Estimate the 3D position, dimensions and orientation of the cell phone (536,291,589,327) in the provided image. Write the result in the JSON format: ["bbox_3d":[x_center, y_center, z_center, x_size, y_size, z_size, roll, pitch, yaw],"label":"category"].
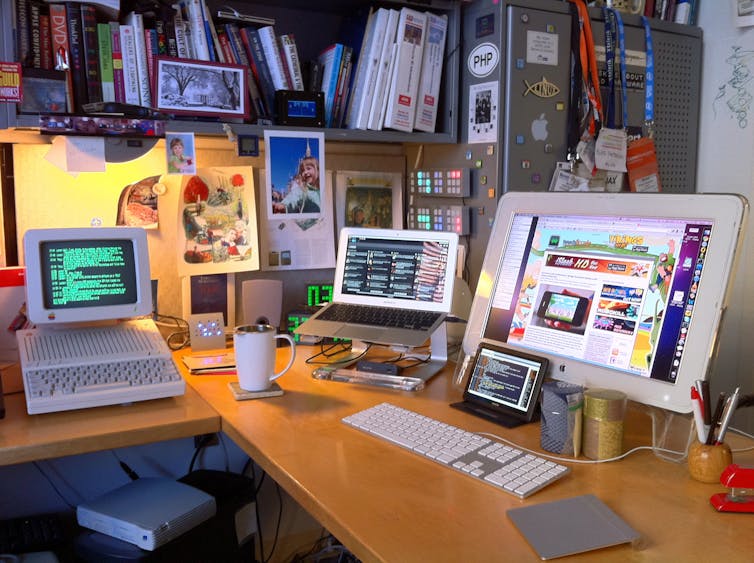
[{"bbox_3d":[0.427,0.063,1.304,0.010,0.054,0.073,12,2,-44],"label":"cell phone"}]

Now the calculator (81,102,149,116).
[{"bbox_3d":[-0.714,-0.473,1.582,0.187,0.039,0.043,-6,14,-22],"label":"calculator"}]

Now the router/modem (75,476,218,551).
[{"bbox_3d":[-0.625,0.641,1.564,0.188,0.046,0.194,12,12,27],"label":"router/modem"}]

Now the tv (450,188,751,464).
[{"bbox_3d":[0.473,0.101,1.269,0.258,0.628,0.658,-3,12,-43],"label":"tv"}]

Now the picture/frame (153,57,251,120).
[{"bbox_3d":[-0.504,-0.557,1.642,0.258,0.157,0.030,-6,14,-21],"label":"picture/frame"}]

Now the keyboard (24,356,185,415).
[{"bbox_3d":[-0.708,0.239,1.469,0.351,0.056,0.229,-1,28,-35],"label":"keyboard"}]

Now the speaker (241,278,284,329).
[{"bbox_3d":[-0.394,0.071,1.940,0.145,0.165,0.095,-4,13,-15],"label":"speaker"}]

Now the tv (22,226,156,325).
[{"bbox_3d":[-0.875,-0.020,1.732,0.359,0.283,0.324,-2,4,-34],"label":"tv"}]

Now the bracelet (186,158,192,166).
[{"bbox_3d":[-0.557,-0.353,1.685,0.018,0.019,0.005,0,7,-20],"label":"bracelet"}]

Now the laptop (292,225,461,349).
[{"bbox_3d":[0.040,-0.056,1.710,0.451,0.367,0.296,5,10,5],"label":"laptop"}]
